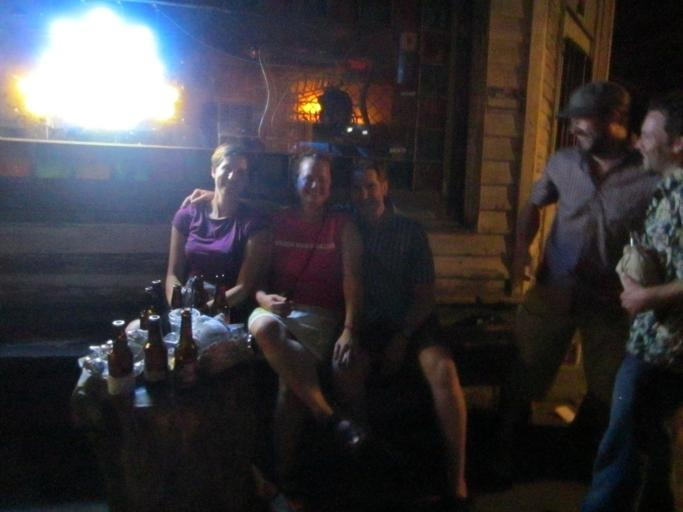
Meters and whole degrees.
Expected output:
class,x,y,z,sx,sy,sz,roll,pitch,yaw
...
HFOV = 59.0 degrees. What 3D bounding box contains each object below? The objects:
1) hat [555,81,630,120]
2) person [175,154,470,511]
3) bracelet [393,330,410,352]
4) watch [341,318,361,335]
class,x,y,z,sx,sy,sz,roll,pitch,yaw
hat,1.289,-0.795,3.039,0.357,0.180,0.270,2,14,38
person,0.108,0.369,3.047,1.104,1.743,0.475,3,7,12
bracelet,0.307,0.430,3.081,0.084,0.094,0.019,2,7,-1
watch,0.047,0.358,3.066,0.068,0.073,0.052,1,-2,-12
